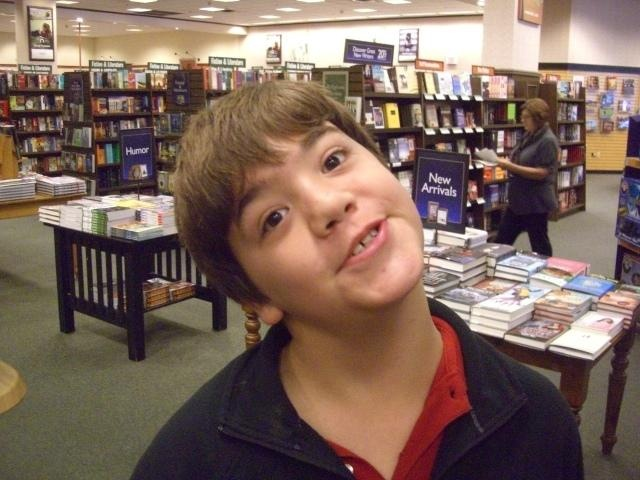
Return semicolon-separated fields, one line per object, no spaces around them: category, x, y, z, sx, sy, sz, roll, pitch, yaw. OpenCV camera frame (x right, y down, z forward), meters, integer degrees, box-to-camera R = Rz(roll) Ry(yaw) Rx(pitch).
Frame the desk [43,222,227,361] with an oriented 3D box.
desk;-1.636;0.322;4.621;1.444;1.267;1.474;7;13;37
